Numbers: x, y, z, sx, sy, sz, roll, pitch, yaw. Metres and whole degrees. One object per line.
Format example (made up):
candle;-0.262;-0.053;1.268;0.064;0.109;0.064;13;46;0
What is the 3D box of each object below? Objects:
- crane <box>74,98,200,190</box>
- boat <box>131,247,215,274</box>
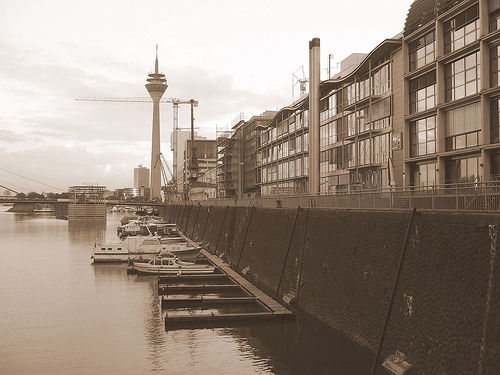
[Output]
crane;-25.564;-10.838;184.015;41.076;34.343;3.430;0;5;0
boat;-6.914;6.963;50.755;4.369;1.761;9.071;0;-4;-42
